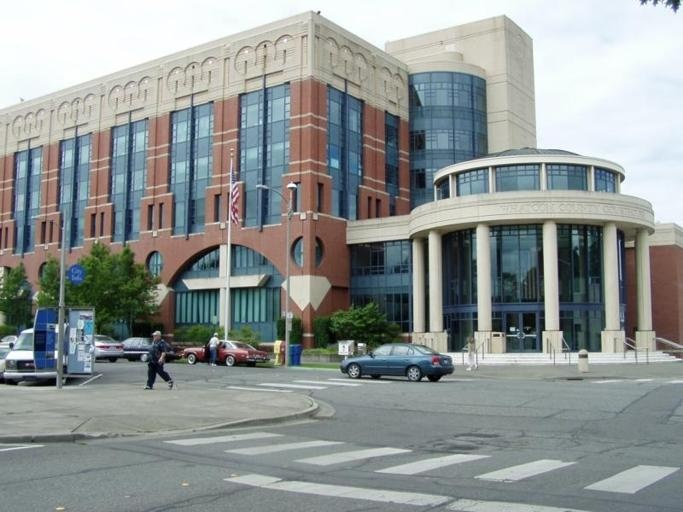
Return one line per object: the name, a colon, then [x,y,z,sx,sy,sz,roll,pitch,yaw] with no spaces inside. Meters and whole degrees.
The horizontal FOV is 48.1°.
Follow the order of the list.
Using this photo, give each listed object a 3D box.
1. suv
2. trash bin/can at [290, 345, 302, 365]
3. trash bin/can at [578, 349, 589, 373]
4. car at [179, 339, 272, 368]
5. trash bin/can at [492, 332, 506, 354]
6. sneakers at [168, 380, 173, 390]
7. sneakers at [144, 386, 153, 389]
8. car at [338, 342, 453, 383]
suv: [-12.120,4.023,30.302,1.729,1.503,3.030,-1,-13,-8]
trash bin/can: [-2.568,5.445,42.407,0.609,1.168,0.947,1,-10,-7]
trash bin/can: [11.247,4.834,35.529,0.443,1.043,0.805,-3,-11,14]
car: [-6.459,5.323,42.393,4.513,1.522,1.682,-6,-12,29]
trash bin/can: [9.518,5.202,46.382,0.895,1.251,0.660,1,-10,-6]
sneakers: [-6.019,4.516,26.980,0.100,0.341,0.128,-1,16,-7]
sneakers: [-6.706,4.547,26.582,0.122,0.128,0.317,6,-15,-38]
car: [2.460,4.462,32.216,4.139,1.276,1.771,0,-6,32]
